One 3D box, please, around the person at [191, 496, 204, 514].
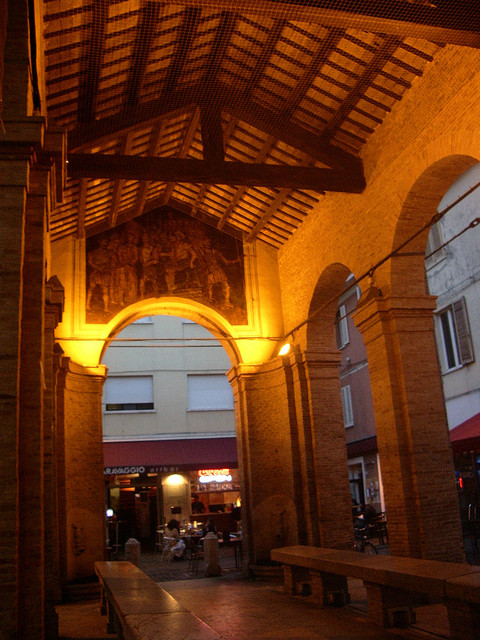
[{"bbox_3d":[-1.744,7.523,22.606,0.426,0.657,1.063,-3,-17,-4],"label":"person"}]
